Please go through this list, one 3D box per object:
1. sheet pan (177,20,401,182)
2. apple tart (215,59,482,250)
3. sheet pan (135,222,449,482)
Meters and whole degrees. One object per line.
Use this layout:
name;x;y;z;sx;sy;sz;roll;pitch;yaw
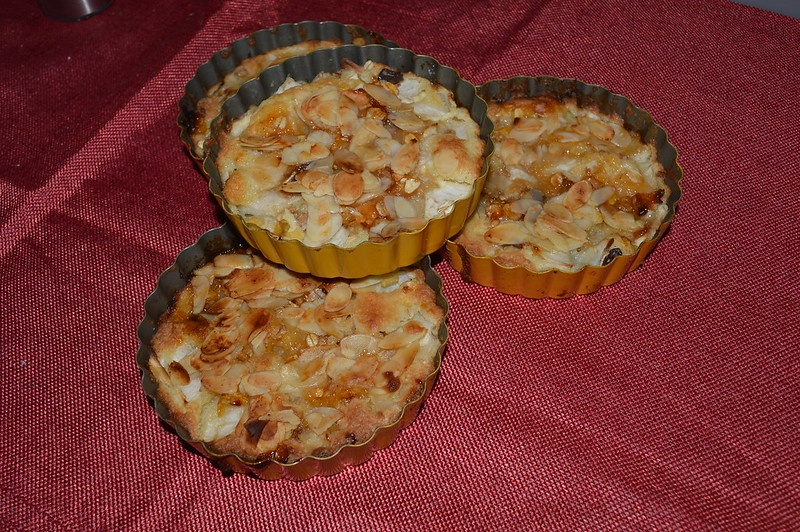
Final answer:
sheet pan;-0.492;-0.695;3.234;0.694;0.233;0.725;-4;74;-5
apple tart;-0.152;-0.355;2.556;0.874;0.146;0.697;-22;70;-12
sheet pan;-0.646;0.295;2.760;0.897;0.223;0.914;2;63;1
